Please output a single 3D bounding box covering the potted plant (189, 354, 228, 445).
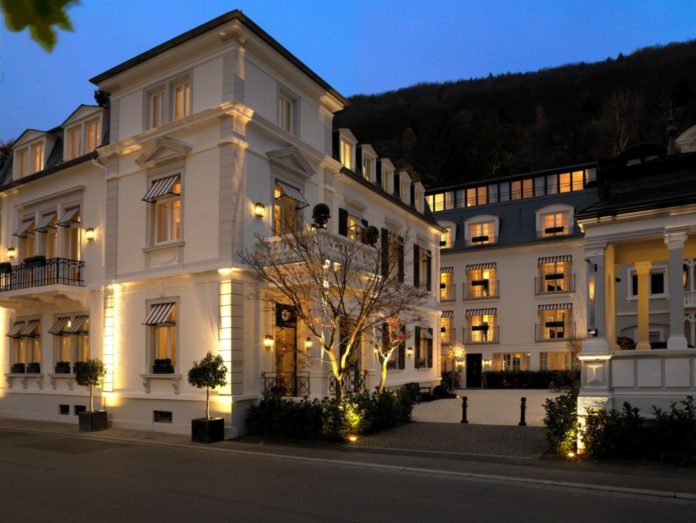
[{"bbox_3d":[-4.914,4.725,32.695,1.313,3.051,1.551,-2,6,-9],"label":"potted plant"}]

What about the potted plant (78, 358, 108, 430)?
[{"bbox_3d":[-9.767,5.027,35.358,1.124,2.635,1.718,-3,6,-17],"label":"potted plant"}]
